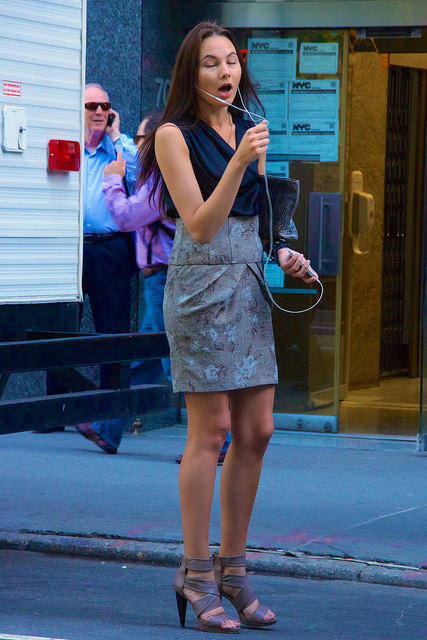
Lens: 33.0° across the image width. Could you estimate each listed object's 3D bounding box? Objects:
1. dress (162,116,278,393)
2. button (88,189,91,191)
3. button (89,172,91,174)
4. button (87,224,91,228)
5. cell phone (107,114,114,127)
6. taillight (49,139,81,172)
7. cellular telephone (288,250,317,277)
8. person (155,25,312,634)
[{"bbox_3d":[0.028,-0.133,2.032,0.328,0.676,0.305,1,8,-9],"label":"dress"},{"bbox_3d":[-0.850,-0.892,4.887,0.018,0.016,0.004,-5,-1,-7],"label":"button"},{"bbox_3d":[-0.857,-1.015,4.935,0.018,0.016,0.004,-7,5,-20],"label":"button"},{"bbox_3d":[-0.860,-0.650,4.900,0.025,0.022,0.005,-3,3,3],"label":"button"},{"bbox_3d":[-0.714,-1.392,4.989,0.023,0.074,0.055,8,-6,-3],"label":"cell phone"},{"bbox_3d":[-0.561,-0.610,2.654,0.047,0.126,0.146,0,1,42],"label":"taillight"},{"bbox_3d":[0.255,-0.161,2.042,0.081,0.072,0.066,3,7,5],"label":"cellular telephone"},{"bbox_3d":[0.071,0.015,2.053,0.478,1.679,0.451,-3,10,-37],"label":"person"}]
